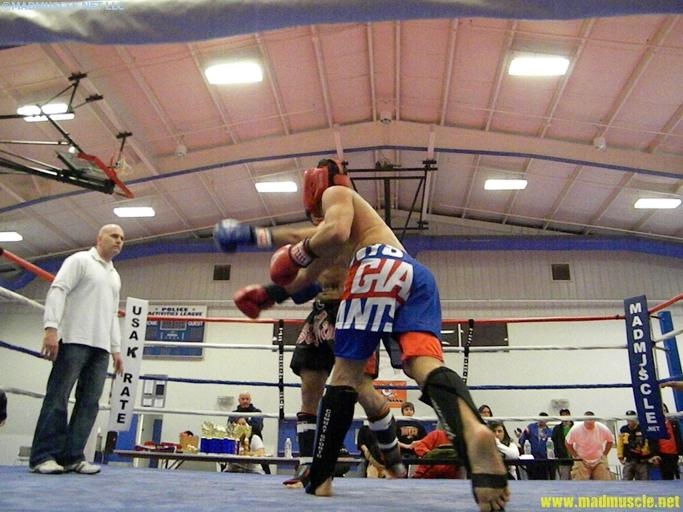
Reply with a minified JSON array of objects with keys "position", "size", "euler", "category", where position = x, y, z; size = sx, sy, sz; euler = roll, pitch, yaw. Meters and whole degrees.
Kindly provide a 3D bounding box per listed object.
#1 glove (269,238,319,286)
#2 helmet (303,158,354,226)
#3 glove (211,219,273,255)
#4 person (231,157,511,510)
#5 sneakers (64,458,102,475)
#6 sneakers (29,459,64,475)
[{"position":[-0.205,0.027,1.866],"size":[0.211,0.087,0.161],"euler":[-31,-37,15],"category":"glove"},{"position":[-0.064,-0.319,2.109],"size":[0.267,0.223,0.200],"euler":[-12,-17,17],"category":"helmet"},{"position":[-0.450,-0.086,2.014],"size":[0.235,0.087,0.152],"euler":[0,20,-6],"category":"glove"},{"position":[0.092,0.214,1.834],"size":[1.050,1.380,0.520],"euler":[-6,-23,23],"category":"person"},{"position":[-1.391,1.147,2.469],"size":[0.206,0.078,0.073],"euler":[2,-15,1],"category":"sneakers"},{"position":[-1.467,1.052,2.265],"size":[0.177,0.064,0.064],"euler":[-7,-35,25],"category":"sneakers"}]
